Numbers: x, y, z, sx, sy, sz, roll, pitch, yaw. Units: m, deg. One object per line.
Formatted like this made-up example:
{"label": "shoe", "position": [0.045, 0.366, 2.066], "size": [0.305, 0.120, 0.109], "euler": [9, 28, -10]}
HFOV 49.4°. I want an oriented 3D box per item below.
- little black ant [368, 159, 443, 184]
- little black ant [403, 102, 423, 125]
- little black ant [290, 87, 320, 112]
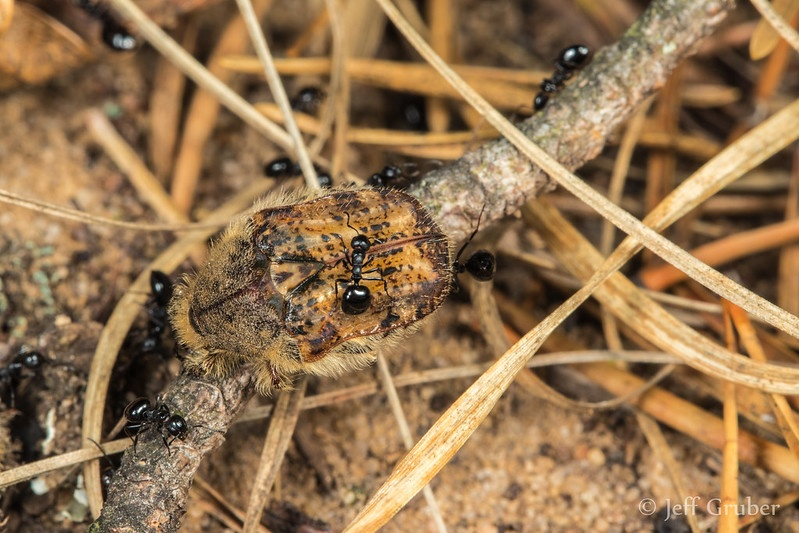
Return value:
{"label": "little black ant", "position": [0.003, -0.545, 5.148], "size": [0.296, 0.095, 0.219], "euler": [-24, 13, -23]}
{"label": "little black ant", "position": [0.084, -0.941, 5.469], "size": [0.109, 0.110, 0.084], "euler": [1, -8, -1]}
{"label": "little black ant", "position": [-0.567, -0.982, 5.232], "size": [0.159, 0.124, 0.065], "euler": [-37, 29, 21]}
